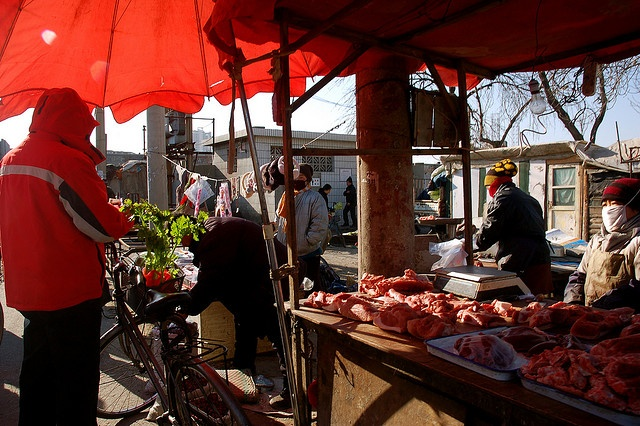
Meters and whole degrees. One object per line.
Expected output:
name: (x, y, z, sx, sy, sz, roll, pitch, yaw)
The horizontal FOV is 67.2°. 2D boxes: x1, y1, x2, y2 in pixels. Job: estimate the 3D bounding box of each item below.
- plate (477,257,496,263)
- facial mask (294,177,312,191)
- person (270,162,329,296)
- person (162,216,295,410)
plate: (2.512, 0.717, 7.212, 0.154, 0.042, 0.169, -1, -1, -5)
facial mask: (-0.231, -0.366, 6.247, 0.143, 0.116, 0.194, 1, 1, 14)
person: (-0.262, 0.210, 6.315, 0.575, 1.747, 0.699, 3, -5, -26)
person: (-0.992, 0.877, 5.303, 1.052, 2.117, 1.063, 1, 2, 41)
